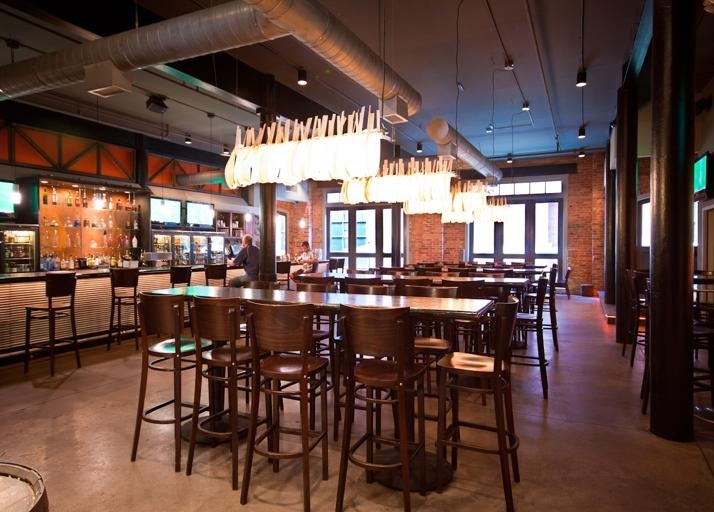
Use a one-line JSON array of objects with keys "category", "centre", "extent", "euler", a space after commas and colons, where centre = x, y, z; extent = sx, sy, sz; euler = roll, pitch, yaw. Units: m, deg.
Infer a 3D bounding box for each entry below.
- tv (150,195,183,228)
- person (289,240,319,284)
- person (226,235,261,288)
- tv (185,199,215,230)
[{"category": "tv", "centre": [-4.527, -1.022, 12.975], "extent": [0.074, 0.648, 0.955], "euler": [-1, 0, 26]}, {"category": "person", "centre": [-1.367, 0.205, 13.532], "extent": [0.677, 1.124, 0.532], "euler": [-7, 8, -33]}, {"category": "person", "centre": [-2.198, 0.253, 10.585], "extent": [0.669, 1.287, 0.571], "euler": [-3, 2, 18]}, {"category": "tv", "centre": [-3.986, -1.034, 13.976], "extent": [0.246, 0.672, 1.068], "euler": [-1, 0, 20]}]
